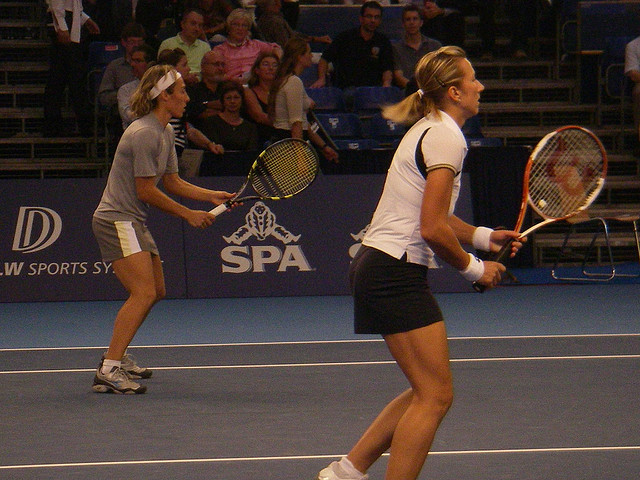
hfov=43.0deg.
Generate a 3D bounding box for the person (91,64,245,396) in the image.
[{"bbox_3d":[-1.325,-0.103,6.219,1.054,2.459,0.649,-10,13,-41],"label":"person"}]

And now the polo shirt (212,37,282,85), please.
[{"bbox_3d":[-1.016,-2.481,11.035,0.804,0.535,0.482,-2,10,-7],"label":"polo shirt"}]

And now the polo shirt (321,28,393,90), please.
[{"bbox_3d":[0.556,-2.643,11.908,1.234,0.963,0.624,3,5,0],"label":"polo shirt"}]

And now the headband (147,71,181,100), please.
[{"bbox_3d":[-1.165,-1.172,6.221,0.232,0.057,0.162,-38,19,0],"label":"headband"}]

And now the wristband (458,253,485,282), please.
[{"bbox_3d":[0.809,0.156,4.331,0.119,0.146,0.130,9,40,-11],"label":"wristband"}]

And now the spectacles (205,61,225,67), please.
[{"bbox_3d":[-1.239,-2.183,10.005,0.081,0.065,0.185,9,13,44],"label":"spectacles"}]

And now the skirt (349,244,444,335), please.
[{"bbox_3d":[0.377,0.266,4.449,0.477,0.575,0.481,1,-6,2],"label":"skirt"}]

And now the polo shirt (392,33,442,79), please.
[{"bbox_3d":[1.422,-2.749,12.109,0.678,0.653,0.461,0,10,3],"label":"polo shirt"}]

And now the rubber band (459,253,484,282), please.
[{"bbox_3d":[0.810,0.160,4.333,0.112,0.143,0.129,10,33,-11],"label":"rubber band"}]

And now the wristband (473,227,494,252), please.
[{"bbox_3d":[0.902,-0.006,4.551,0.092,0.116,0.120,3,-11,0],"label":"wristband"}]

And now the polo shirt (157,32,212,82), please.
[{"bbox_3d":[-1.719,-2.480,10.904,0.828,0.661,0.611,5,11,31],"label":"polo shirt"}]
